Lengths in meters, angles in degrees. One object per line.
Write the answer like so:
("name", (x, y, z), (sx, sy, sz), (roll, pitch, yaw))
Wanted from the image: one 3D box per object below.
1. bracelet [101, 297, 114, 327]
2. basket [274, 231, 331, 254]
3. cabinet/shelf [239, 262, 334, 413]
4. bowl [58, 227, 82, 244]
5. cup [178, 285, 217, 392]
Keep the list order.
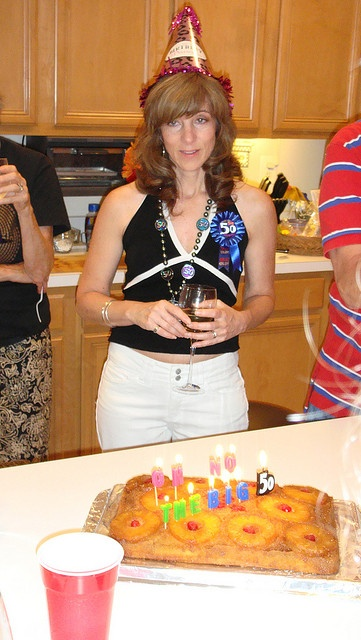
("bracelet", (-0.208, -0.015, 1.374), (0.022, 0.061, 0.057), (5, 11, 10))
("basket", (0.763, -0.474, 3.095), (0.276, 0.119, 0.317), (-2, 8, -21))
("cabinet/shelf", (0.763, 0.383, 3.245), (0.439, 0.455, 0.858), (-7, 45, 34))
("bowl", (-0.636, -0.466, 2.850), (0.126, 0.063, 0.165), (-2, 4, -5))
("cup", (0.035, 0.048, 1.230), (0.084, 0.274, 0.164), (-2, 5, -8))
